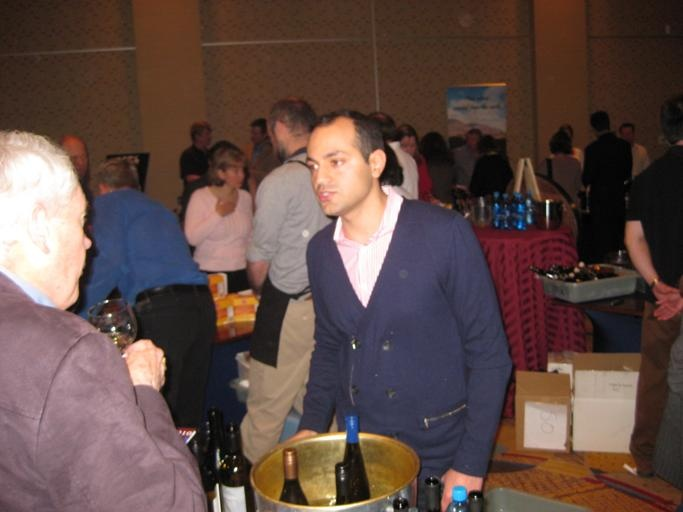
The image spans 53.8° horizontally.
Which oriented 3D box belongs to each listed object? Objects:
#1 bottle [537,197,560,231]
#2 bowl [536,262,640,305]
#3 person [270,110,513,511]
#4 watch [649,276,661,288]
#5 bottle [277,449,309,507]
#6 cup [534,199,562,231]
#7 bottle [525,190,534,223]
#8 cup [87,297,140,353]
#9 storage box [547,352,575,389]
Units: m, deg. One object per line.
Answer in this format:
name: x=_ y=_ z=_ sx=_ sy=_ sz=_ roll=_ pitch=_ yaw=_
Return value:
bottle: x=1.445 y=-0.290 z=4.719 sx=0.183 sy=0.214 sz=0.188 roll=-1 pitch=-3 yaw=6
bowl: x=1.497 y=0.172 z=4.141 sx=0.626 sy=0.226 sz=0.395 roll=-1 pitch=3 yaw=19
person: x=0.194 y=0.145 z=2.272 sx=0.710 sy=1.301 sz=0.303 roll=-1 pitch=4 yaw=17
watch: x=1.579 y=0.136 z=3.421 sx=0.053 sy=0.049 sz=0.036 roll=-44 pitch=13 yaw=6
bottle: x=-0.146 y=0.648 z=1.969 sx=0.075 sy=0.207 sz=0.128 roll=-2 pitch=3 yaw=3
cup: x=1.437 y=-0.287 z=4.822 sx=0.191 sy=0.223 sz=0.203 roll=-1 pitch=-1 yaw=0
bottle: x=1.385 y=-0.349 z=4.999 sx=0.058 sy=0.234 sz=0.098 roll=-1 pitch=3 yaw=14
cup: x=-0.720 y=0.218 z=2.121 sx=0.113 sy=0.122 sz=0.181 roll=-20 pitch=-40 yaw=21
storage box: x=1.362 y=0.725 z=4.206 sx=0.196 sy=0.204 sz=0.369 roll=-2 pitch=4 yaw=22
